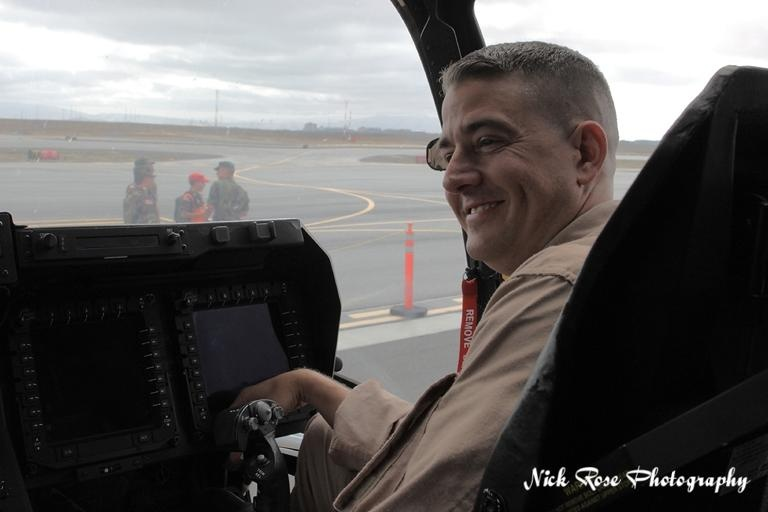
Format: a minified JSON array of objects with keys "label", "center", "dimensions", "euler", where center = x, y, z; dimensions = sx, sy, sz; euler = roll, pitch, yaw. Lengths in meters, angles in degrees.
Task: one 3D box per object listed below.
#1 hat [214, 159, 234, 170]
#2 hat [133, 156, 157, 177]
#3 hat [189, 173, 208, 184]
[{"label":"hat","center":[-0.786,-0.450,2.847],"dimensions":[0.054,0.036,0.075],"euler":[-5,17,-31]},{"label":"hat","center":[-1.099,-0.402,2.632],"dimensions":[0.104,0.091,0.077],"euler":[-11,17,-35]},{"label":"hat","center":[-0.886,-0.371,2.756],"dimensions":[0.074,0.037,0.051],"euler":[-8,16,-43]}]
